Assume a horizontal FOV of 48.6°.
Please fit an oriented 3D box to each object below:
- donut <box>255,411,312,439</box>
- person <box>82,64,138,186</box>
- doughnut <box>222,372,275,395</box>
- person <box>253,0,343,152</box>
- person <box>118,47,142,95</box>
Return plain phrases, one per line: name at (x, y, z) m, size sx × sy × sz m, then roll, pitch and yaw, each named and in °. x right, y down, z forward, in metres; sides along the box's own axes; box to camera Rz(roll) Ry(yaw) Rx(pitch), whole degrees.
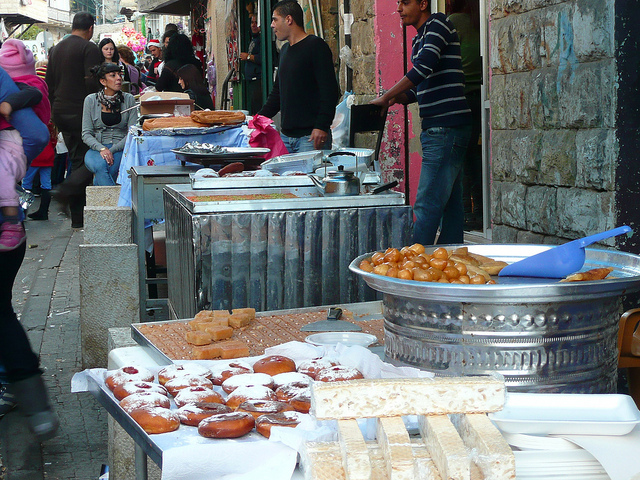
donut at (-0.086, 0.431, 1.701) m, size 0.129 × 0.037 × 0.096 m, roll -7°, pitch 13°, yaw -19°
person at (-2.493, -1.355, 8.474) m, size 0.667 × 1.399 × 0.515 m, roll -6°, pitch 11°, yaw -18°
doughnut at (-0.189, 0.367, 1.900) m, size 0.072 × 0.023 × 0.074 m, roll 2°, pitch 0°, yaw 43°
person at (-0.197, -1.496, 6.558) m, size 0.728 × 1.317 × 1.286 m, roll -3°, pitch 11°, yaw 0°
person at (-3.573, -3.079, 13.251) m, size 0.344 × 1.067 × 0.383 m, roll 10°, pitch 34°, yaw 13°
